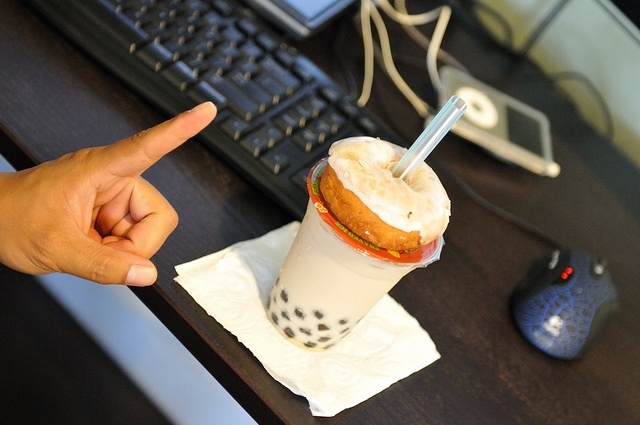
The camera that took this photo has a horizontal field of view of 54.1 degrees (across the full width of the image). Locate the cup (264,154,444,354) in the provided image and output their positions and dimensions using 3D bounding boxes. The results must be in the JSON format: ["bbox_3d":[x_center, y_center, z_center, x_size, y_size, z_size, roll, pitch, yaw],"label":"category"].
[{"bbox_3d":[0.047,0.075,0.920,0.214,0.232,0.229,31,32,-22],"label":"cup"}]

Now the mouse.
[{"bbox_3d":[0.372,0.131,0.917,0.133,0.059,0.178,20,55,43],"label":"mouse"}]
